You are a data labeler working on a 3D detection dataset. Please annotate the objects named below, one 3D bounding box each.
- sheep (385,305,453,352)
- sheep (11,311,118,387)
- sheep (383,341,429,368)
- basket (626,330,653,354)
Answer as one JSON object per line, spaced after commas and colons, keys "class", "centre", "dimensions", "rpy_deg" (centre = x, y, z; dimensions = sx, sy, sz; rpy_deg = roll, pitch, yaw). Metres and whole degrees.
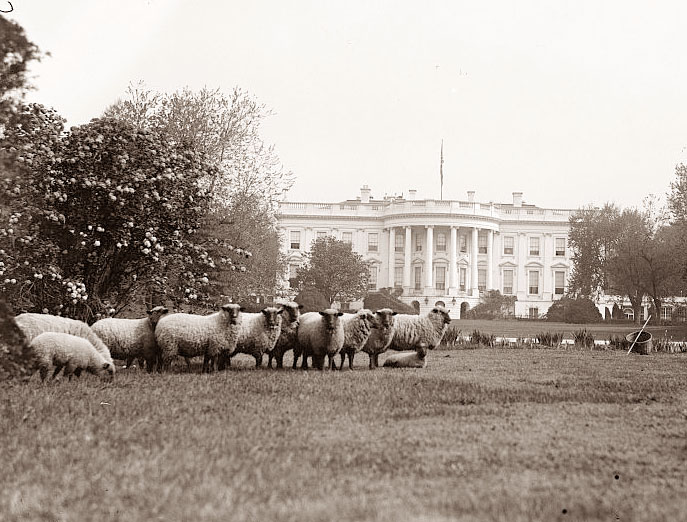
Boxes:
{"class": "sheep", "centre": [1.762, 1.809, 23.444], "dimensions": [1.714, 1.461, 0.641], "rpy_deg": [-2, -5, -1]}
{"class": "sheep", "centre": [-5.143, 1.640, 17.891], "dimensions": [1.680, 1.207, 1.145], "rpy_deg": [-7, 14, -35]}
{"class": "sheep", "centre": [1.477, 2.244, 22.540], "dimensions": [1.267, 0.734, 0.452], "rpy_deg": [-8, -11, 22]}
{"class": "basket", "centre": [8.747, 2.544, 28.637], "dimensions": [0.634, 0.559, 0.739], "rpy_deg": [-11, 13, 19]}
